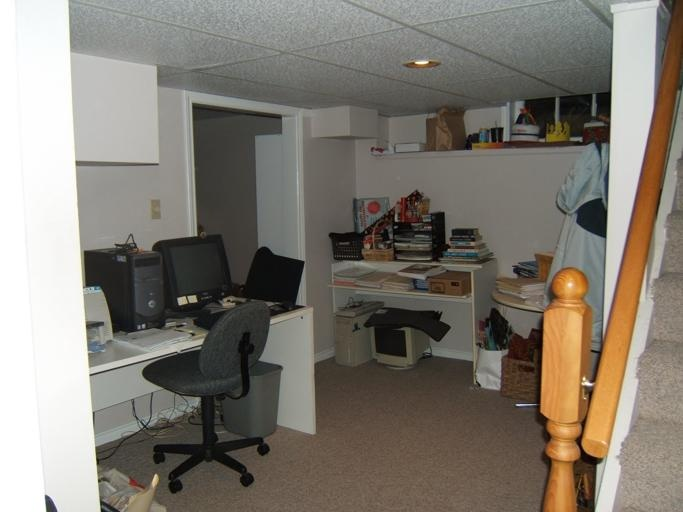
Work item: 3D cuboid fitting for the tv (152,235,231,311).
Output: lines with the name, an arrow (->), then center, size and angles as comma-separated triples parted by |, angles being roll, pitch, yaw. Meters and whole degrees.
tv -> -0.988, 0.116, 3.426 | 0.286, 0.415, 0.447 | -8, 2, 31

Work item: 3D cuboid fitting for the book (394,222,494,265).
book -> 0.905, -0.147, 4.907 | 0.899, 0.370, 0.327 | 5, 11, 32

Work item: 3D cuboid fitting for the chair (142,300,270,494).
chair -> -0.809, 0.762, 3.191 | 0.751, 1.031, 0.729 | 5, 9, 34

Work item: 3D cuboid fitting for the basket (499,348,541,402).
basket -> 1.354, 0.934, 4.024 | 0.276, 0.305, 0.306 | 2, 10, 19

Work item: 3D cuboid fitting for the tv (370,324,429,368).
tv -> 0.565, 0.792, 4.982 | 0.324, 0.394, 0.463 | 6, 10, 37

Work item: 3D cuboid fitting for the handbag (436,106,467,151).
handbag -> 1.027, -1.168, 4.920 | 0.315, 0.376, 0.235 | -2, 10, -4
